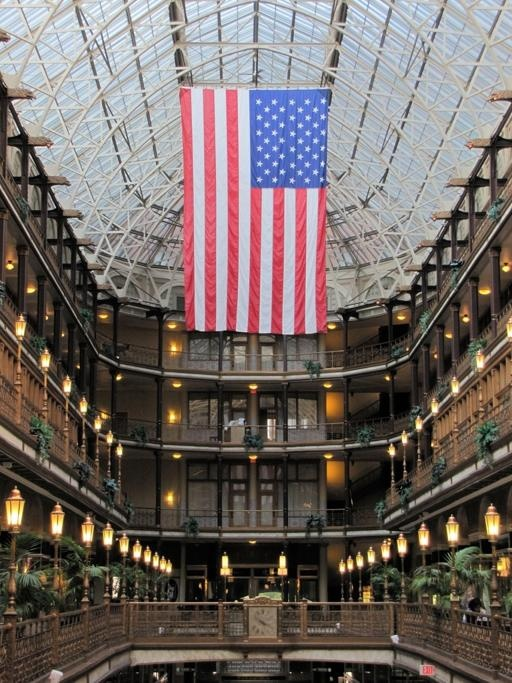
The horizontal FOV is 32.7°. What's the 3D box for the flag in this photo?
[{"bbox_3d":[-0.078,-5.836,40.589,6.631,9.575,6.245,-1,-22,-3],"label":"flag"}]
